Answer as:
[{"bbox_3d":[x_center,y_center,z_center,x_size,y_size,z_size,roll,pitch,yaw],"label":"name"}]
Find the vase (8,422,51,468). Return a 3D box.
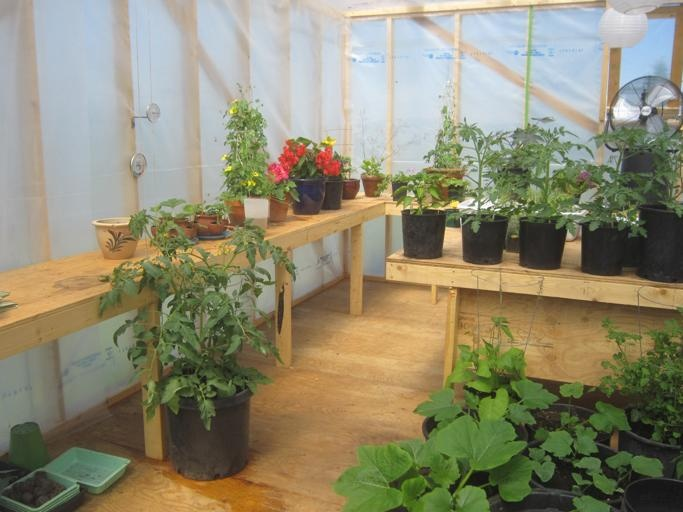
[{"bbox_3d":[-1.549,0.952,2.588,0.143,0.215,0.132,5,12,24],"label":"vase"}]

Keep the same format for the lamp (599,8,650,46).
[{"bbox_3d":[2.198,-1.803,4.064,0.284,0.277,0.282,-6,12,-32],"label":"lamp"}]

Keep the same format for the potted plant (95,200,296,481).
[{"bbox_3d":[-0.714,0.412,2.742,0.800,1.379,1.003,-1,11,-7],"label":"potted plant"}]
